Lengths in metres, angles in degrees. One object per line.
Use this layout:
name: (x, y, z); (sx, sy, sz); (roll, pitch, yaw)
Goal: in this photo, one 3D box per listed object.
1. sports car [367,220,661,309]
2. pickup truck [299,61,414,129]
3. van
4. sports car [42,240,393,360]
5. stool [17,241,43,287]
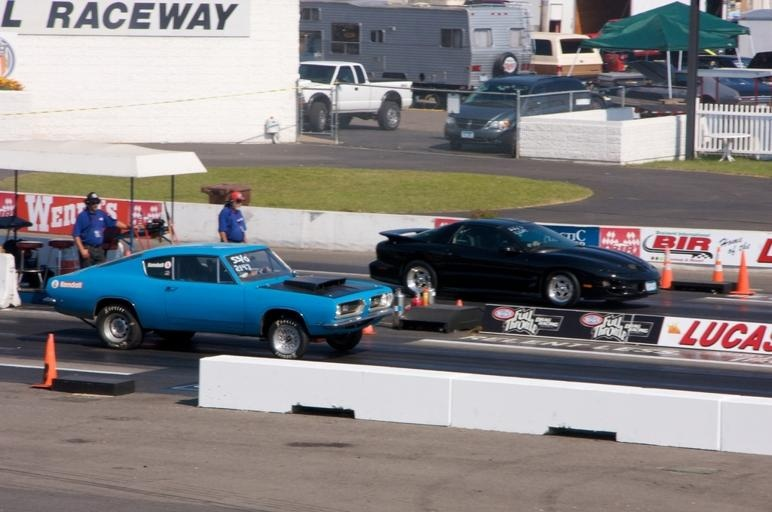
sports car: (3.311, -0.109, 35.242); (6.693, 1.368, 3.217); (5, 17, 35)
pickup truck: (-2.080, -5.784, 54.686); (3.226, 1.928, 5.810); (8, 11, 41)
van: (4.399, -4.728, 50.435); (3.811, 2.478, 2.522); (-8, 13, -36)
sports car: (-3.492, 0.803, 32.204); (6.837, 1.560, 2.787); (4, 10, 22)
stool: (-8.325, 0.160, 35.582); (0.575, 1.062, 0.891); (-3, 11, -12)
